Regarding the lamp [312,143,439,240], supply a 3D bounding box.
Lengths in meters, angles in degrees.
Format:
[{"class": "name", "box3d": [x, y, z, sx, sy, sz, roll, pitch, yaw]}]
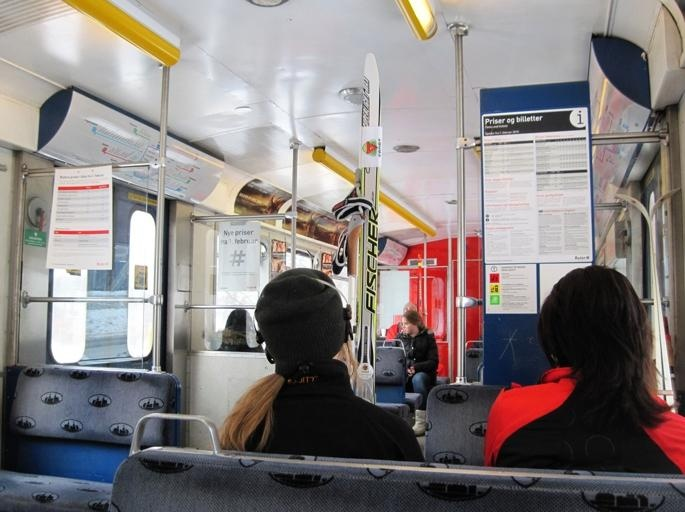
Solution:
[{"class": "lamp", "box3d": [0.350, -0.783, 6.330, 0.191, 0.282, 2.684, 13, -10, 39]}]

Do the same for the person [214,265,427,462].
[{"class": "person", "box3d": [-0.108, 0.454, 2.096, 0.862, 0.762, 0.483, -6, -12, 21]}]
